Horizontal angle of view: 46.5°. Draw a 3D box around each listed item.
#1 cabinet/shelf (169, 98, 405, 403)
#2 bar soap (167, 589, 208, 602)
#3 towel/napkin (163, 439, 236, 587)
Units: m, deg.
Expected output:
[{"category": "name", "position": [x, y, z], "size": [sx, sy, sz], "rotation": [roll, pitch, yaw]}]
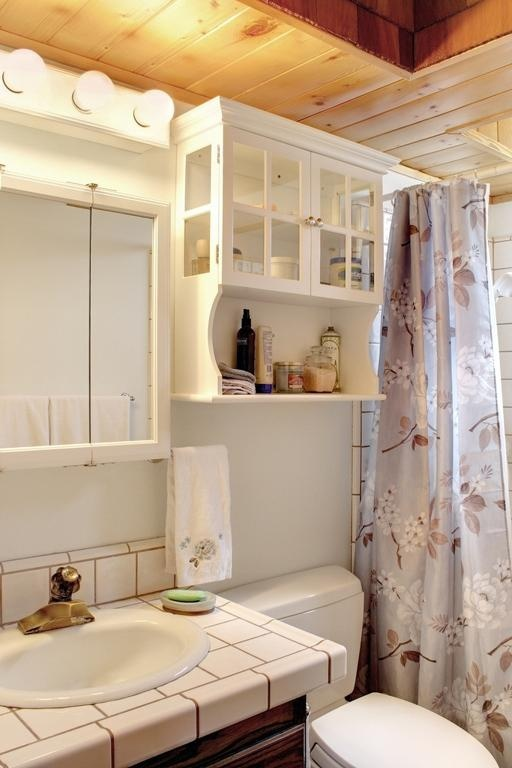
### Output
[{"category": "cabinet/shelf", "position": [0.065, -0.356, 1.557], "size": [0.223, 0.786, 0.756], "rotation": [-1, -1, 43]}, {"category": "bar soap", "position": [-0.155, 0.475, 1.326], "size": [0.096, 0.015, 0.061], "rotation": [-3, 3, -8]}, {"category": "towel/napkin", "position": [-0.136, 0.312, 1.417], "size": [0.166, 0.328, 0.116], "rotation": [-3, 3, -17]}]
